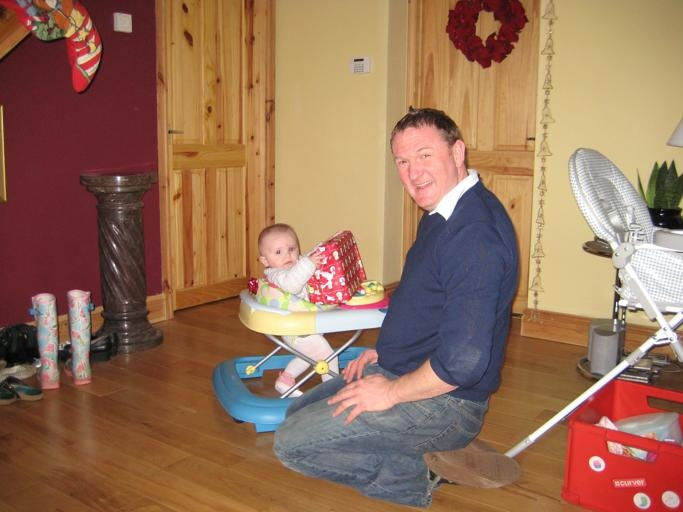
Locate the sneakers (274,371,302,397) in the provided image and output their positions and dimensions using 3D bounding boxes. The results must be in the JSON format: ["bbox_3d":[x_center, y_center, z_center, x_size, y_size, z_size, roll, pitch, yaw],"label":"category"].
[{"bbox_3d":[-0.286,0.677,3.015,0.226,0.088,0.078,2,4,30],"label":"sneakers"}]

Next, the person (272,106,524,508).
[{"bbox_3d":[0.227,0.241,2.157,0.796,1.547,0.491,5,14,16],"label":"person"}]

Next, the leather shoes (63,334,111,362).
[{"bbox_3d":[-1.548,0.572,3.545,0.333,0.129,0.118,2,9,-5],"label":"leather shoes"}]
